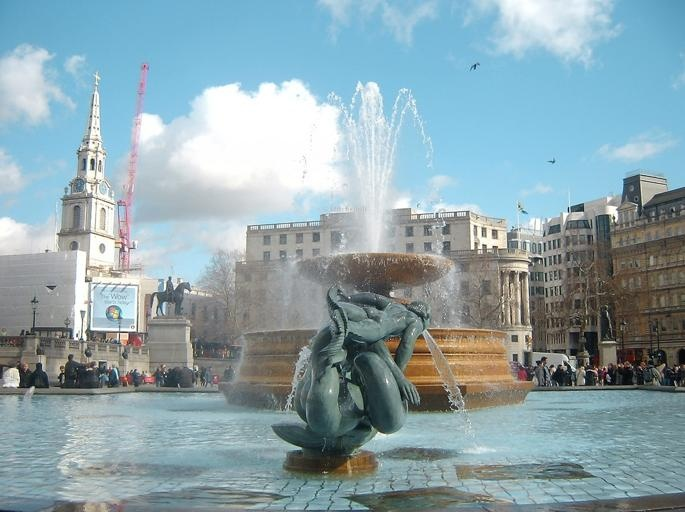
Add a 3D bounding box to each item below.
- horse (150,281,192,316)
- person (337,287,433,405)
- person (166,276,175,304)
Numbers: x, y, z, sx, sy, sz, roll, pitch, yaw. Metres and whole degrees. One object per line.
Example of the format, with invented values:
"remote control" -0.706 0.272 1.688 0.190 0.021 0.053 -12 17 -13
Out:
"horse" -9.284 2.242 41.718 2.378 1.955 0.720 -2 2 4
"person" 0.327 1.012 8.336 1.178 0.409 1.213 9 25 -42
"person" -9.250 1.834 41.536 0.311 1.357 0.875 -3 -7 0
